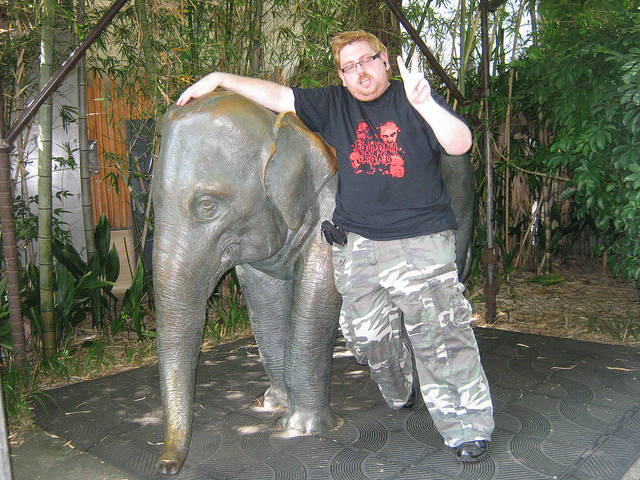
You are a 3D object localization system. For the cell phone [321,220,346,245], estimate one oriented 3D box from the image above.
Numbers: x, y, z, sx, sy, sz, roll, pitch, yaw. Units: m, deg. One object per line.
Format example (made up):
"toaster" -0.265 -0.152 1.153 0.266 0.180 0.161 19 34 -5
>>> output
"cell phone" 0.050 -0.023 2.033 0.059 0.090 0.030 -28 -2 33
